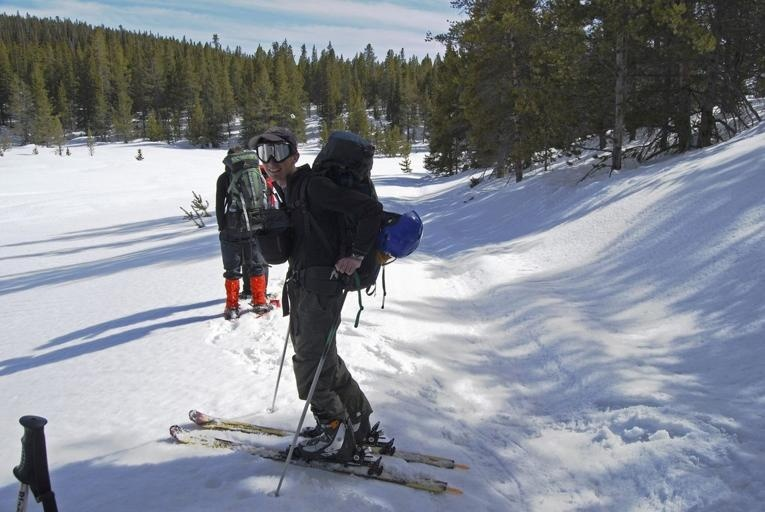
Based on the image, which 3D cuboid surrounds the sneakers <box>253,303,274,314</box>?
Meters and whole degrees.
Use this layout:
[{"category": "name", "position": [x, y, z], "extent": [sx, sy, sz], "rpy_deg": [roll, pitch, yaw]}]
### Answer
[{"category": "sneakers", "position": [-2.522, 1.114, 13.933], "extent": [0.161, 0.200, 0.454], "rpy_deg": [0, 9, 37]}]

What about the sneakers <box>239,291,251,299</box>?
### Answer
[{"category": "sneakers", "position": [-3.014, 0.875, 14.429], "extent": [0.241, 0.129, 0.160], "rpy_deg": [6, -5, 8]}]

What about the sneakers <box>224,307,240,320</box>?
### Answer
[{"category": "sneakers", "position": [-3.125, 1.203, 13.690], "extent": [0.286, 0.272, 0.209], "rpy_deg": [-3, -6, 17]}]
